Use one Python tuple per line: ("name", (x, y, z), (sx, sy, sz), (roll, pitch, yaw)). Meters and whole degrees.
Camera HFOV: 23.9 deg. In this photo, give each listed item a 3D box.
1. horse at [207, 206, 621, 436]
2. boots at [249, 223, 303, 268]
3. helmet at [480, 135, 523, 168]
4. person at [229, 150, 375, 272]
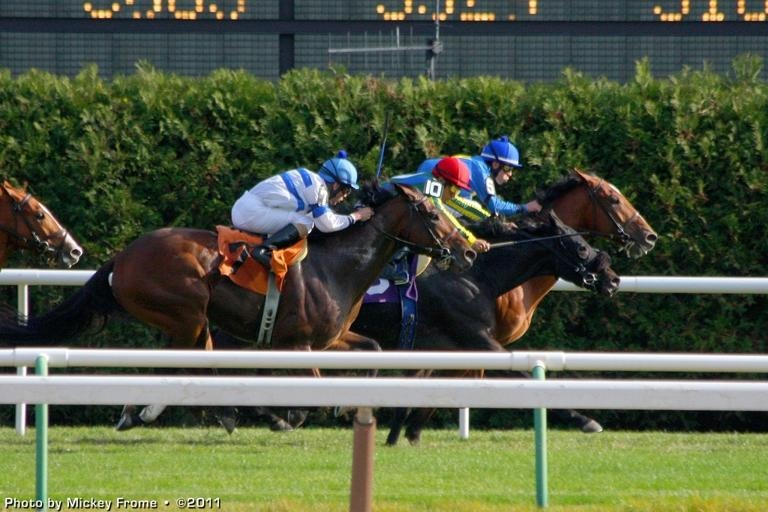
("horse", (0.187, 0.602, 15.143), (3.298, 2.142, 0.752), (4, 11, 2))
("boots", (-0.831, -0.107, 14.241), (0.432, 0.237, 0.155), (-41, 13, -16))
("helmet", (1.003, -0.895, 15.363), (0.307, 0.187, 0.234), (16, 16, 1))
("person", (-0.637, -0.302, 14.548), (1.016, 1.084, 0.703), (9, -3, 5))
